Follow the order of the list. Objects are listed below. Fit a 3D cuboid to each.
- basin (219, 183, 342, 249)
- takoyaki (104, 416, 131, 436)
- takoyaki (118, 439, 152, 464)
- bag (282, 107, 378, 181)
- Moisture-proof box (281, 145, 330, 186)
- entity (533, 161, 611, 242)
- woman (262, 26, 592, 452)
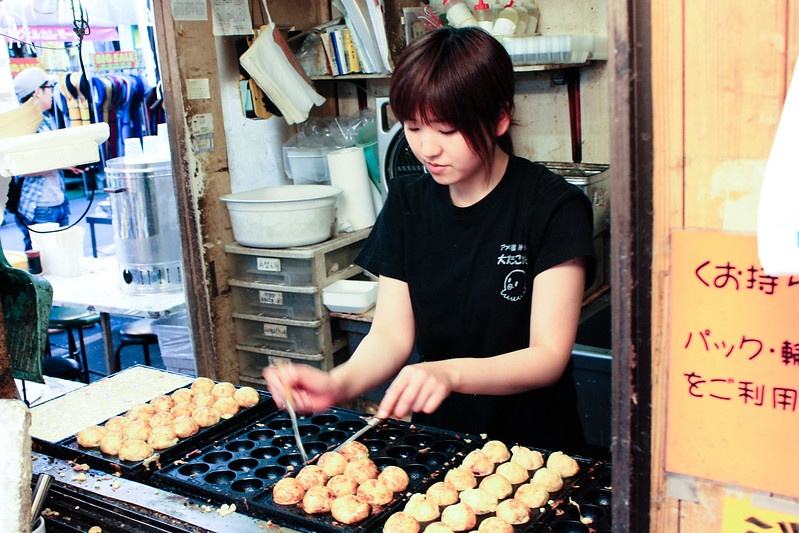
[{"bbox_3d":[-0.687,-0.280,3.437,0.774,0.267,0.613,-2,13,-12],"label":"basin"},{"bbox_3d":[-0.900,0.507,2.017,0.048,0.023,0.048,9,16,23],"label":"takoyaki"},{"bbox_3d":[-0.775,0.540,1.857,0.071,0.021,0.065,8,24,-13],"label":"takoyaki"},{"bbox_3d":[-0.434,-0.734,3.730,0.406,0.192,0.513,2,19,20],"label":"bag"},{"bbox_3d":[-0.607,-0.588,3.761,0.255,0.223,0.340,-10,2,39],"label":"Moisture-proof box"},{"bbox_3d":[0.891,-0.326,3.306,0.463,0.290,0.459,-6,8,26],"label":"entity"},{"bbox_3d":[0.112,-0.135,1.705,0.702,0.974,0.660,6,16,35],"label":"woman"}]
